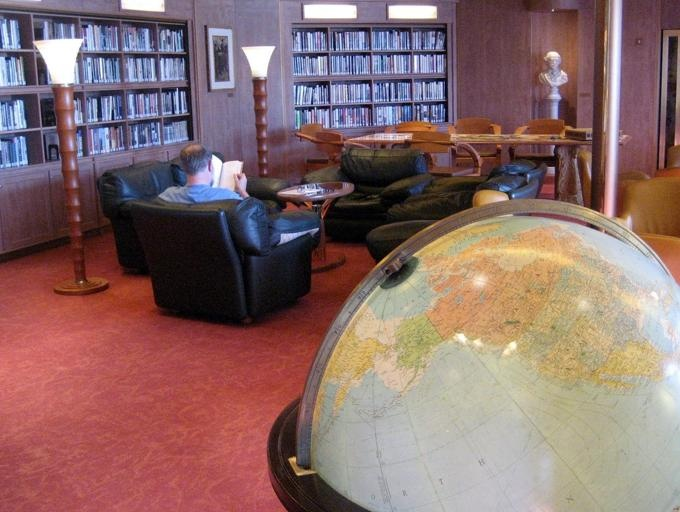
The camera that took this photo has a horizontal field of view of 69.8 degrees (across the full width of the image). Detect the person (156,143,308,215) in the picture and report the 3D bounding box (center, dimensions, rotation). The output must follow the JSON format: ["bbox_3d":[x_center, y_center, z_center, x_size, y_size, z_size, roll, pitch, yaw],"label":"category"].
[{"bbox_3d":[-1.166,-0.660,4.114,0.845,0.518,0.514,6,17,21],"label":"person"}]

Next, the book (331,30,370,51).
[{"bbox_3d":[0.172,-4.174,9.411,0.505,0.219,0.152,-3,16,-13],"label":"book"}]

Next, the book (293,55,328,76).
[{"bbox_3d":[-0.553,-3.614,9.263,0.693,0.353,0.107,-10,19,-22],"label":"book"}]

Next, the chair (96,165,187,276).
[{"bbox_3d":[-1.842,-0.350,4.568,0.634,0.871,1.098,5,17,13],"label":"chair"}]

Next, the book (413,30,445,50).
[{"bbox_3d":[1.754,-4.356,9.789,0.516,0.392,0.205,0,0,-11],"label":"book"}]

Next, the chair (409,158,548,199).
[{"bbox_3d":[1.407,-0.785,4.972,1.142,0.413,0.816,10,21,28],"label":"chair"}]

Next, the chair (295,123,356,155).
[{"bbox_3d":[-0.234,-1.852,8.364,0.913,0.423,0.774,-4,22,4],"label":"chair"}]

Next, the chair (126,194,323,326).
[{"bbox_3d":[-0.903,-0.047,4.186,1.139,0.898,1.188,6,16,27],"label":"chair"}]

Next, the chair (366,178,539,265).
[{"bbox_3d":[0.910,-0.312,4.201,1.175,0.694,0.850,3,20,24],"label":"chair"}]
